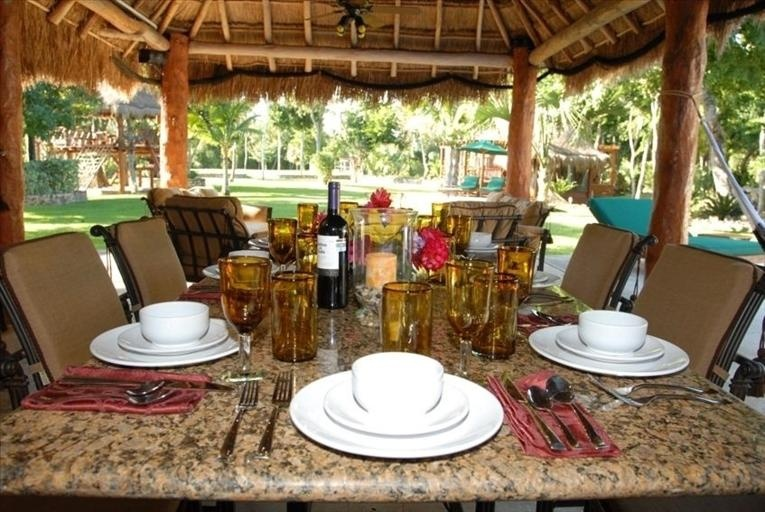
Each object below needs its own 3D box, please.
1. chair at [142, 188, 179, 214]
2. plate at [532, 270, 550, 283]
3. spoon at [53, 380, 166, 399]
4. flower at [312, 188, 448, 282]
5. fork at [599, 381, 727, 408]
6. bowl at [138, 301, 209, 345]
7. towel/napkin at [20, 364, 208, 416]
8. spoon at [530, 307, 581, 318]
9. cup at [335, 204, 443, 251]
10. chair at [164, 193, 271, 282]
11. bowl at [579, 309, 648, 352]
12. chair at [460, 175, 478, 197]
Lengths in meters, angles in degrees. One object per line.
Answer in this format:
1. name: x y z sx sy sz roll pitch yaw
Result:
1. chair: -2.113 -0.528 5.011 0.356 0.220 0.473 -1 15 -5
2. plate: 0.651 0.089 2.196 0.052 0.023 0.062 1 9 6
3. spoon: -0.637 0.304 1.239 0.235 0.021 0.086 5 12 -3
4. flower: -0.002 -0.071 1.905 0.311 0.442 0.325 0 2 0
5. fork: 0.671 0.334 1.284 0.270 0.042 0.092 1 9 1
6. bowl: -0.553 0.182 1.425 0.131 0.069 0.137 0 1 0
7. towel/napkin: -0.611 0.316 1.235 0.233 0.025 0.168 4 16 3
8. spoon: 0.578 0.200 1.797 0.181 0.034 0.050 5 -4 -1
9. cup: 0.020 -0.092 1.876 0.225 0.176 0.227 1 3 0
10. chair: -1.335 -0.206 4.539 0.655 0.831 0.896 4 22 2
11. bowl: 0.613 0.205 1.429 0.128 0.066 0.134 0 1 0
12. chair: 3.209 -2.575 19.758 0.539 0.644 0.837 6 21 26
